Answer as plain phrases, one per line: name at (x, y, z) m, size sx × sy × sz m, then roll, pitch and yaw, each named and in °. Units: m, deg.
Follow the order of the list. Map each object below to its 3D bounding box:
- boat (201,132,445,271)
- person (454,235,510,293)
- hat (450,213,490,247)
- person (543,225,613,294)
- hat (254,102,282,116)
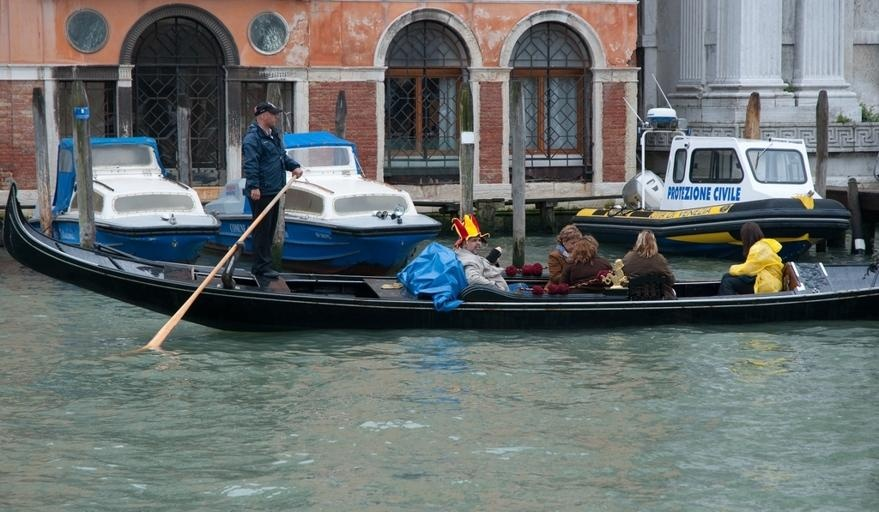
boat at (-3.132, -0.855, 29.148) m, size 2.234 × 2.010 × 6.551 m, roll -5°, pitch 6°, yaw -44°
person at (0.735, 0.173, 24.634) m, size 0.651 × 1.198 × 0.802 m, roll -28°, pitch 21°, yaw 6°
hat at (0.536, -0.442, 24.015) m, size 0.715 × 0.457 × 0.615 m, roll -5°, pitch 17°, yaw 1°
person at (2.373, 0.087, 23.908) m, size 1.141 × 1.062 × 1.354 m, roll 0°, pitch -6°, yaw -21°
hat at (-2.995, -2.539, 23.736) m, size 0.344 × 0.216 × 0.385 m, roll -3°, pitch 5°, yaw -14°
